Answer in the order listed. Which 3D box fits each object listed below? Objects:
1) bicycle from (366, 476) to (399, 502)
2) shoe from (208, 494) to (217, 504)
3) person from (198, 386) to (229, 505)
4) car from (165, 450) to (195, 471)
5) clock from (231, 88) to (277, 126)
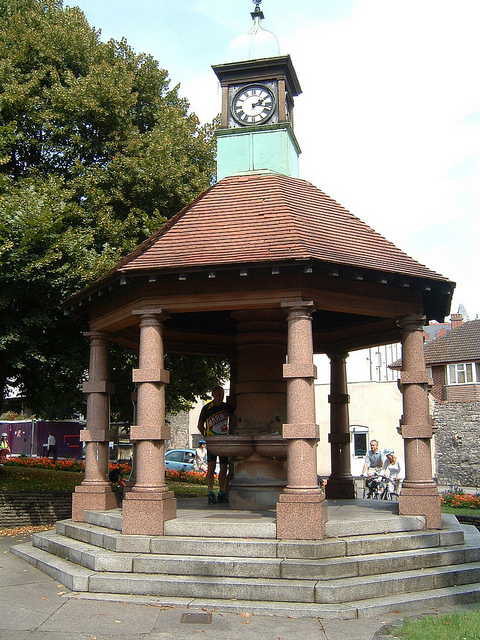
[{"bbox_3d":[3.564,4.345,15.278,0.510,0.590,1.008,8,-16,-34],"label":"bicycle"},{"bbox_3d":[-0.421,3.023,10.136,0.192,0.170,0.119,-4,-8,22],"label":"shoe"},{"bbox_3d":[-0.302,2.123,10.117,0.846,1.999,0.570,0,-9,-5],"label":"person"},{"bbox_3d":[-2.920,6.676,28.500,1.620,0.736,0.969,-7,-9,24],"label":"car"},{"bbox_3d":[0.298,-4.172,11.837,0.906,0.841,0.090,4,-16,11],"label":"clock"}]
